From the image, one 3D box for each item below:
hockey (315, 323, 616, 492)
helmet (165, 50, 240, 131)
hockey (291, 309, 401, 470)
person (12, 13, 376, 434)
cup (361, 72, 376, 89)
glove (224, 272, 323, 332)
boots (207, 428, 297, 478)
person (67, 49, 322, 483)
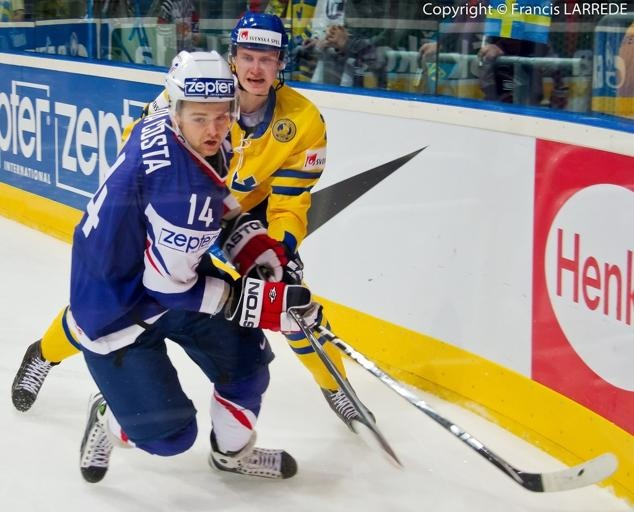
[{"bbox_3d":[0.551,0.548,2.472,0.955,0.120,0.145,28,-12,32],"label":"hockey"},{"bbox_3d":[-0.306,-0.446,1.842,0.142,0.192,0.191,-3,24,-15],"label":"helmet"},{"bbox_3d":[0.103,0.499,2.533,0.062,0.604,0.014,-24,-15,-15],"label":"hockey"},{"bbox_3d":[-0.410,0.135,2.125,0.850,1.452,0.572,-3,23,-3],"label":"person"},{"bbox_3d":[0.228,-0.764,3.031,0.060,0.071,0.062,-1,16,0],"label":"cup"},{"bbox_3d":[-0.137,0.143,2.091,0.249,0.147,0.099,13,-23,-23],"label":"glove"},{"bbox_3d":[-0.187,0.667,2.276,0.352,0.123,0.218,4,-27,-2],"label":"boots"},{"bbox_3d":[-0.361,0.065,2.049,0.663,1.284,0.312,0,15,-28],"label":"person"}]
